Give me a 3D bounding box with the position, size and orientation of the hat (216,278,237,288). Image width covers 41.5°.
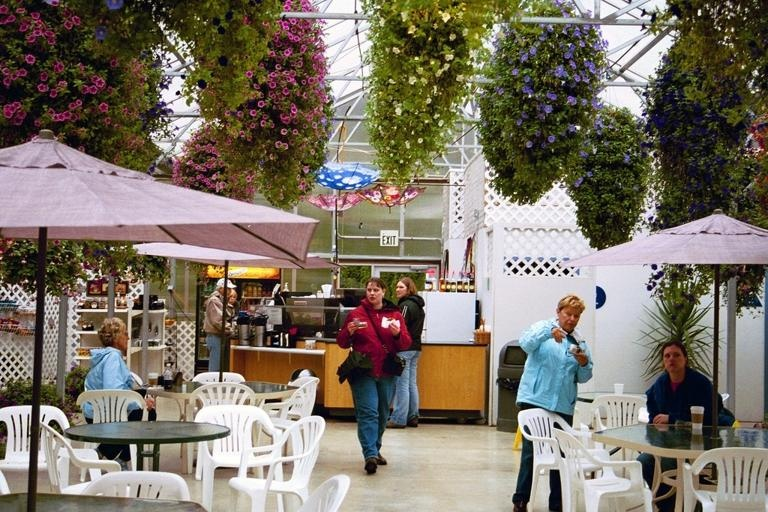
[{"bbox_3d":[-2.540,0.424,16.338,0.176,0.110,0.275,5,-6,-35],"label":"hat"}]

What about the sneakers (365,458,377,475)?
[{"bbox_3d":[-0.129,2.251,10.981,0.089,0.098,0.199,2,-26,-5],"label":"sneakers"}]

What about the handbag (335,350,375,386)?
[{"bbox_3d":[-0.260,1.164,10.949,0.322,0.156,0.338,-18,30,16],"label":"handbag"}]

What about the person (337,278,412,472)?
[{"bbox_3d":[-0.123,1.305,11.019,0.780,2.084,0.484,2,5,-2],"label":"person"}]

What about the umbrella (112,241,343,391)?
[{"bbox_3d":[-2.244,0.912,14.243,2.108,1.870,2.101,7,-6,-27],"label":"umbrella"}]

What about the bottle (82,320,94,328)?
[{"bbox_3d":[-4.838,1.099,16.567,0.138,0.130,0.122,-3,-3,9],"label":"bottle"}]

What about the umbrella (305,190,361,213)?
[{"bbox_3d":[-0.820,-0.999,18.192,0.746,0.290,0.719,-1,-4,6],"label":"umbrella"}]

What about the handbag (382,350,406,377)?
[{"bbox_3d":[0.108,1.164,11.044,0.234,0.268,0.203,-3,0,-8],"label":"handbag"}]

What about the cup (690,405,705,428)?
[{"bbox_3d":[2.690,1.369,8.708,0.093,0.198,0.253,3,5,17],"label":"cup"}]

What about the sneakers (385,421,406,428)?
[{"bbox_3d":[0.168,2.269,13.850,0.264,0.125,0.100,5,-1,11],"label":"sneakers"}]

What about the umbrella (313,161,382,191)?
[{"bbox_3d":[-0.524,-1.196,15.280,0.833,0.449,1.589,2,4,0],"label":"umbrella"}]

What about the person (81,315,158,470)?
[{"bbox_3d":[-2.696,1.409,10.422,0.713,1.537,0.714,4,0,-22],"label":"person"}]
